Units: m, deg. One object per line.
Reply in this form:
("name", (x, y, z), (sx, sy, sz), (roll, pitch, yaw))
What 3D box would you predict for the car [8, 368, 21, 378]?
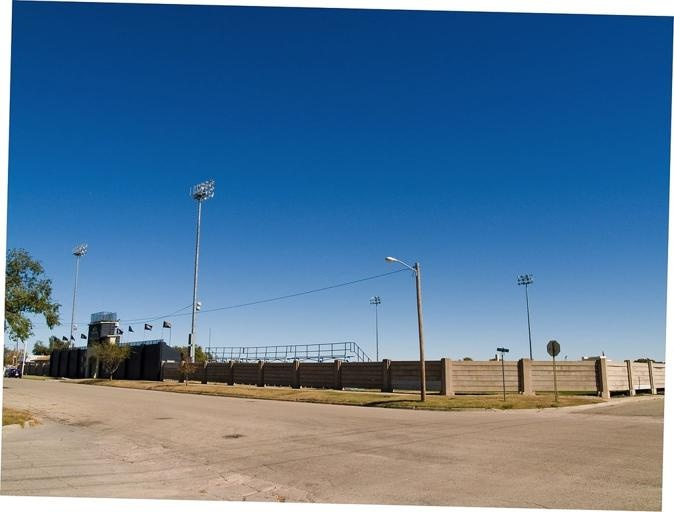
("car", (-54.624, 19.800, 91.274), (2.068, 1.126, 2.868), (6, -5, -43))
